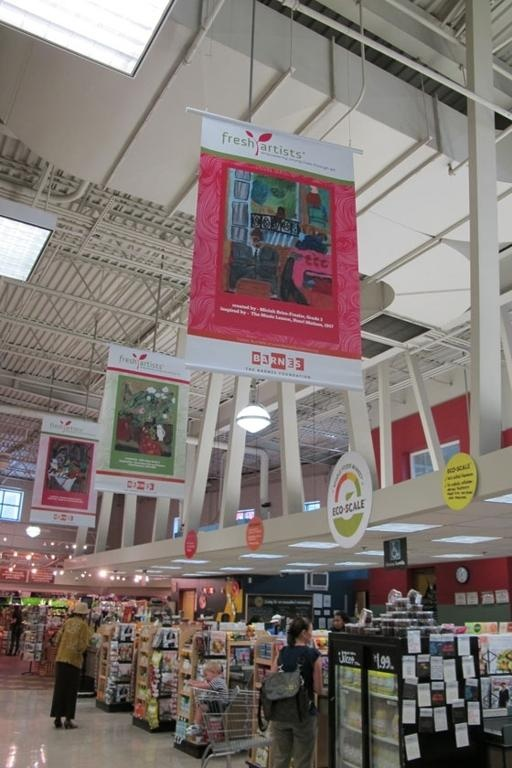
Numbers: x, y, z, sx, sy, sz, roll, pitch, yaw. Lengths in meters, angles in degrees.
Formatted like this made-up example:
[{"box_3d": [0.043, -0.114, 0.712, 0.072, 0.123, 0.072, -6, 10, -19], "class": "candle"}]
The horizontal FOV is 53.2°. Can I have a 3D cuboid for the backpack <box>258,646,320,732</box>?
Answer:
[{"box_3d": [0.216, 2.047, 3.470, 0.374, 0.472, 0.433, -6, -21, 19], "class": "backpack"}]

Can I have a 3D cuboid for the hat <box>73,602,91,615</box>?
[{"box_3d": [-2.468, 3.132, 7.207, 0.189, 0.139, 0.254, 7, -10, 0], "class": "hat"}]

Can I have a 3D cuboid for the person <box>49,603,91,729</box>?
[{"box_3d": [-2.575, 3.875, 7.094, 0.409, 1.587, 0.766, 8, -20, -18], "class": "person"}]

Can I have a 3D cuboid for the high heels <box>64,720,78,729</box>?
[{"box_3d": [-2.503, 4.567, 6.899, 0.174, 0.105, 0.144, 6, -20, -14], "class": "high heels"}]
